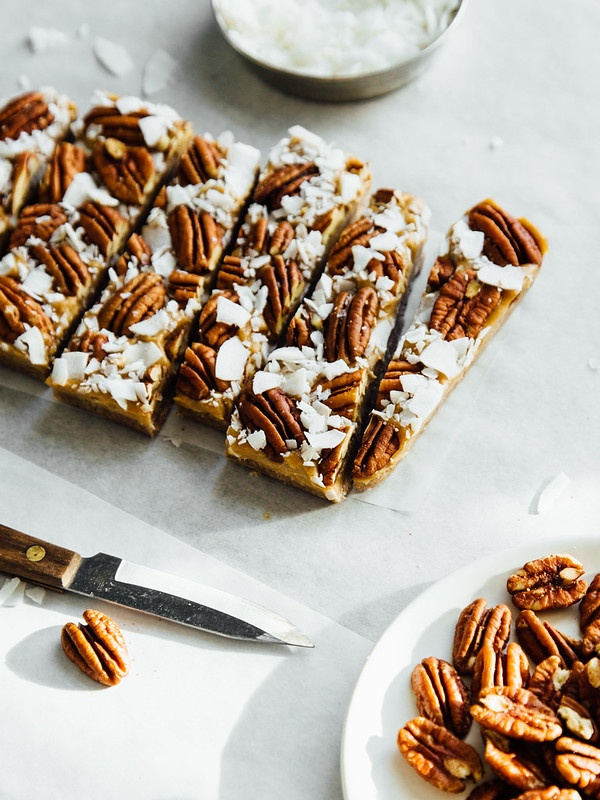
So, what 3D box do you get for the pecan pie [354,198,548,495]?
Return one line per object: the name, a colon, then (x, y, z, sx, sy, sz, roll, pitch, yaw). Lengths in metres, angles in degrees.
pecan pie: (0.288, -0.147, 1.587, 0.231, 0.206, 0.747, 33, 81, 16)
